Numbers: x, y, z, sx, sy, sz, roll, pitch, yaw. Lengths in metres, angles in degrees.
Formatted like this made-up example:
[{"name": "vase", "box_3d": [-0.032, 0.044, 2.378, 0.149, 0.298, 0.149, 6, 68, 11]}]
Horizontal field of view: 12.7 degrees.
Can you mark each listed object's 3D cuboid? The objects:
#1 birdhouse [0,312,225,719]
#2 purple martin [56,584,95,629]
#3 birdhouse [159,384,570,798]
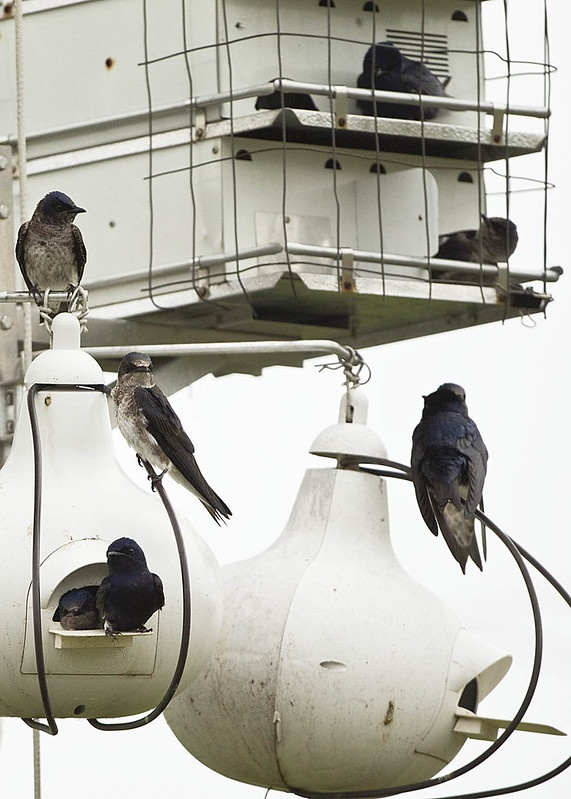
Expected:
[{"name": "birdhouse", "box_3d": [-0.461, 0.316, 6.827, 0.585, 1.151, 0.444, 3, -20, -8]}, {"name": "purple martin", "box_3d": [-0.525, 0.530, 6.601, 0.073, 0.112, 0.052, 15, -38, -17]}, {"name": "birdhouse", "box_3d": [0.111, 0.580, 7.577, 1.097, 1.389, 0.923, -1, -9, 25]}]
